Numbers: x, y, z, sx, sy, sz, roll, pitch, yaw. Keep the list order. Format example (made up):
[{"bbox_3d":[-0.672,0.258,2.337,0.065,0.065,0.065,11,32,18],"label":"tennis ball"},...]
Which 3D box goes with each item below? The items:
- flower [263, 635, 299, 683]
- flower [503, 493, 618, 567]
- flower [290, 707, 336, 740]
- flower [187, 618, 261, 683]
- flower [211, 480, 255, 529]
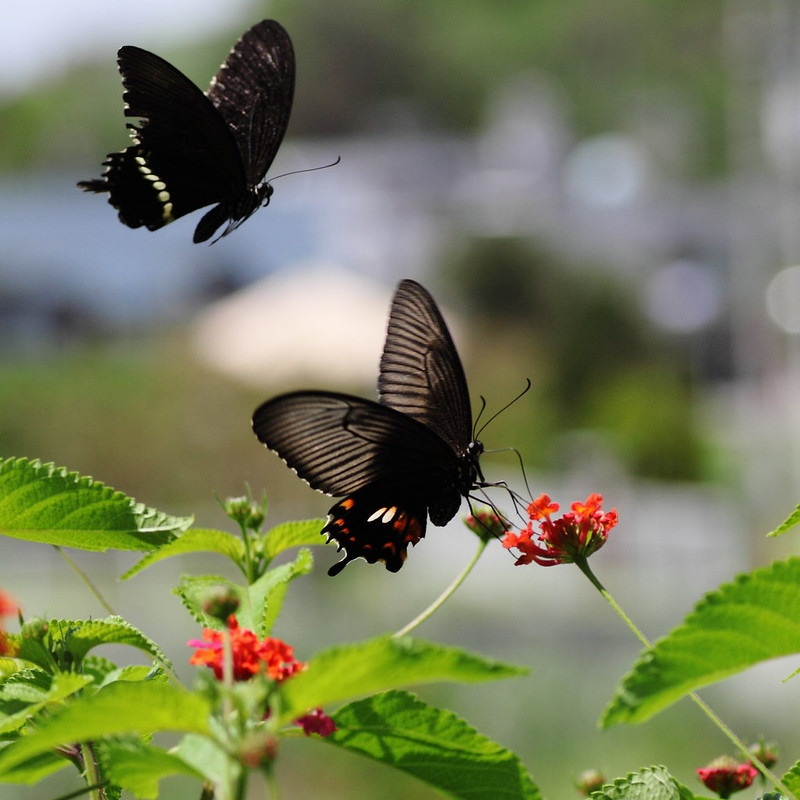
[{"bbox_3d":[-0.209,0.444,2.148,0.064,0.087,0.045,17,-88,-18],"label":"flower"},{"bbox_3d":[0.312,0.247,2.415,0.161,0.163,0.087,-17,-91,-13],"label":"flower"},{"bbox_3d":[-0.145,0.567,2.185,0.068,0.042,0.040,0,-55,-9],"label":"flower"},{"bbox_3d":[-0.296,0.422,2.172,0.111,0.110,0.047,-1,-88,5],"label":"flower"},{"bbox_3d":[-0.314,0.217,2.450,0.092,0.091,0.055,-18,-96,-28],"label":"flower"}]
